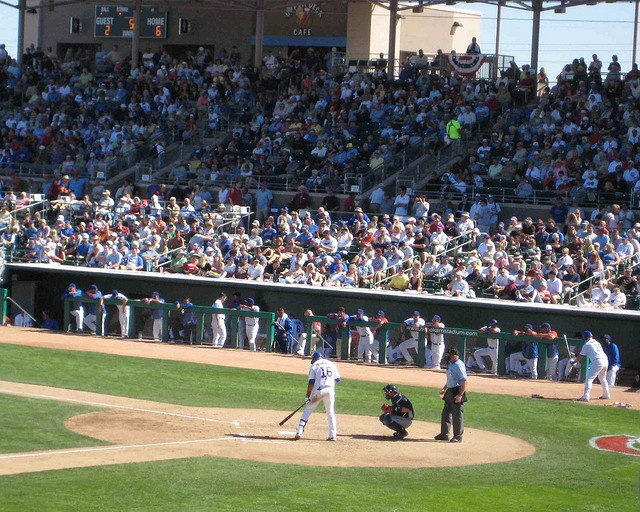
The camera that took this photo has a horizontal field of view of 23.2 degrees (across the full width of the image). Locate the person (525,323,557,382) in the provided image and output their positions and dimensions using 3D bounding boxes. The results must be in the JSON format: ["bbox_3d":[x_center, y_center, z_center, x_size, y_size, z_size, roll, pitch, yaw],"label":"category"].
[{"bbox_3d":[6.551,2.656,44.901,0.668,1.798,0.560,3,2,10],"label":"person"}]

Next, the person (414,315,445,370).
[{"bbox_3d":[3.345,2.530,46.209,0.625,1.797,0.517,1,3,28],"label":"person"}]

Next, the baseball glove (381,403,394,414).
[{"bbox_3d":[1.705,3.777,39.324,0.253,0.137,0.180,23,-15,-35],"label":"baseball glove"}]

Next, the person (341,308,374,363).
[{"bbox_3d":[1.255,2.432,47.154,0.681,1.756,0.587,1,3,-15],"label":"person"}]

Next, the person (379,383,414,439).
[{"bbox_3d":[1.901,3.877,39.589,0.897,1.417,0.933,-1,-1,38],"label":"person"}]

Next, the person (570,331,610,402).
[{"bbox_3d":[7.478,2.934,42.795,0.737,1.956,0.886,-2,3,-23],"label":"person"}]

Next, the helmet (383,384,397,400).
[{"bbox_3d":[1.777,3.361,39.459,0.318,0.374,0.276,6,6,21],"label":"helmet"}]

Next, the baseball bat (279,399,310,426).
[{"bbox_3d":[-0.654,3.977,40.182,0.154,0.943,0.108,45,16,19],"label":"baseball bat"}]

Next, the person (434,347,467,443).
[{"bbox_3d":[3.354,3.443,39.244,0.605,2.299,0.829,2,0,-31],"label":"person"}]

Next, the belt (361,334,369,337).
[{"bbox_3d":[1.350,2.324,46.970,0.176,0.077,0.058,2,0,11],"label":"belt"}]

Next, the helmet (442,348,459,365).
[{"bbox_3d":[3.356,2.474,39.370,0.298,0.374,0.595,2,-1,12],"label":"helmet"}]
